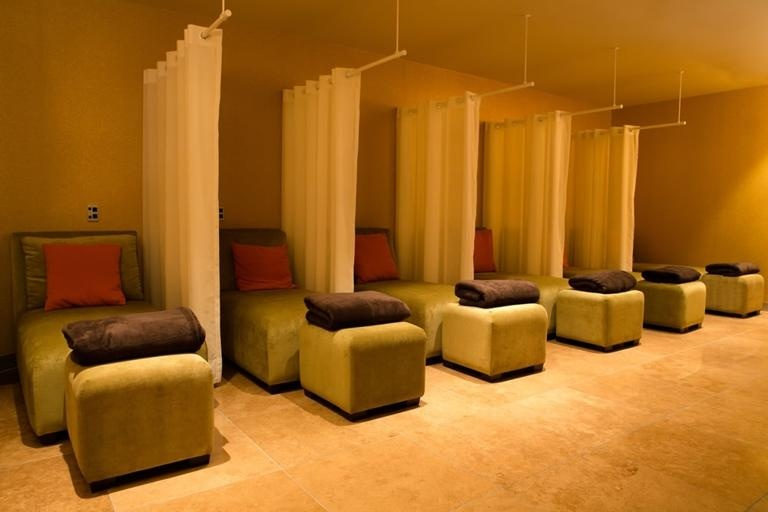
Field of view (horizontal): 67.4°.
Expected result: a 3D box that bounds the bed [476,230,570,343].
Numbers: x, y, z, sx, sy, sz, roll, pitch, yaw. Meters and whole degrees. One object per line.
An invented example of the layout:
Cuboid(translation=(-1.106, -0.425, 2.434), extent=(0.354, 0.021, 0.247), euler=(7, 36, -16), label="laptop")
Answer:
Cuboid(translation=(1.513, 0.212, 6.690), extent=(0.777, 0.942, 1.471), euler=(-3, 4, -30), label="bed")

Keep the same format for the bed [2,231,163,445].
Cuboid(translation=(-2.368, 0.549, 4.652), extent=(0.996, 1.155, 1.361), euler=(-2, 16, -39), label="bed")

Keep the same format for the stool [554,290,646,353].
Cuboid(translation=(2.240, 0.612, 5.899), extent=(0.674, 0.495, 0.660), euler=(-1, 1, -32), label="stool")

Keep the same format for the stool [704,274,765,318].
Cuboid(translation=(4.531, 0.465, 7.393), extent=(0.617, 0.472, 0.602), euler=(-2, 1, -26), label="stool")

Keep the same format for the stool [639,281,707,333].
Cuboid(translation=(3.355, 0.542, 6.619), extent=(0.621, 0.478, 0.612), euler=(-1, 0, -39), label="stool")

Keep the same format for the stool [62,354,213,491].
Cuboid(translation=(-1.659, 0.960, 3.835), extent=(0.824, 0.640, 0.806), euler=(-2, 1, -30), label="stool")

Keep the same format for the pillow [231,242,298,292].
Cuboid(translation=(-1.206, 0.109, 5.726), extent=(0.606, 0.481, 0.304), euler=(-2, 4, -29), label="pillow")

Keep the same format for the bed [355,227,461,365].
Cuboid(translation=(0.242, 0.336, 6.068), extent=(1.015, 1.180, 1.757), euler=(-7, 11, -44), label="bed")

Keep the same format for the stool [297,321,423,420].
Cuboid(translation=(-0.192, 0.794, 4.472), extent=(0.745, 0.555, 0.729), euler=(0, 1, -34), label="stool")

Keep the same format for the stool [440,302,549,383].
Cuboid(translation=(1.015, 0.730, 5.329), extent=(0.877, 0.557, 0.892), euler=(4, 6, 41), label="stool")

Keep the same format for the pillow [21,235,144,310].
Cuboid(translation=(-2.812, 0.143, 5.193), extent=(0.323, 0.615, 0.915), euler=(15, 9, 28), label="pillow")

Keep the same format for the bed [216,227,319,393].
Cuboid(translation=(-0.977, 0.419, 5.389), extent=(0.873, 1.257, 1.546), euler=(-2, 8, -31), label="bed")
